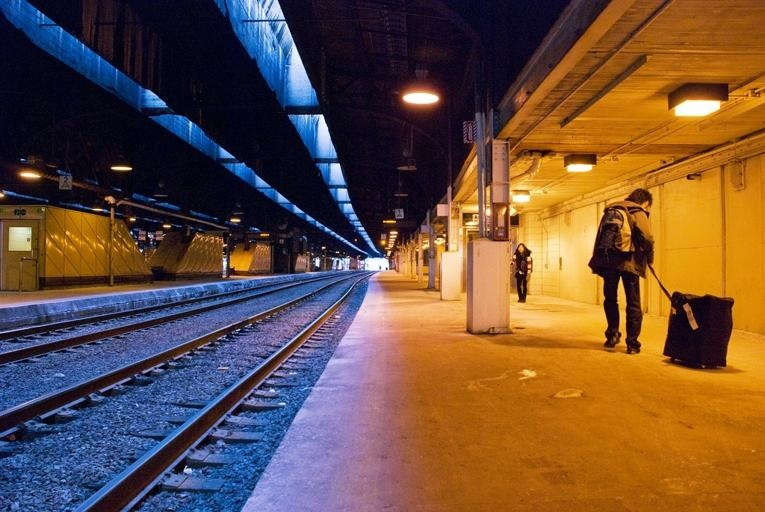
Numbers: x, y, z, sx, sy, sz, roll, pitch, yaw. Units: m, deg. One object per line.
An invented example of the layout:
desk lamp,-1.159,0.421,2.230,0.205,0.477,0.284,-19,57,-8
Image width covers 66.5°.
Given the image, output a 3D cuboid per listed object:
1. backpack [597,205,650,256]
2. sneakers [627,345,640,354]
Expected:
backpack,4.185,-0.483,10.322,0.799,0.918,0.328,1,-6,24
sneakers,4.396,1.643,10.292,0.210,0.155,0.212,2,-5,19
